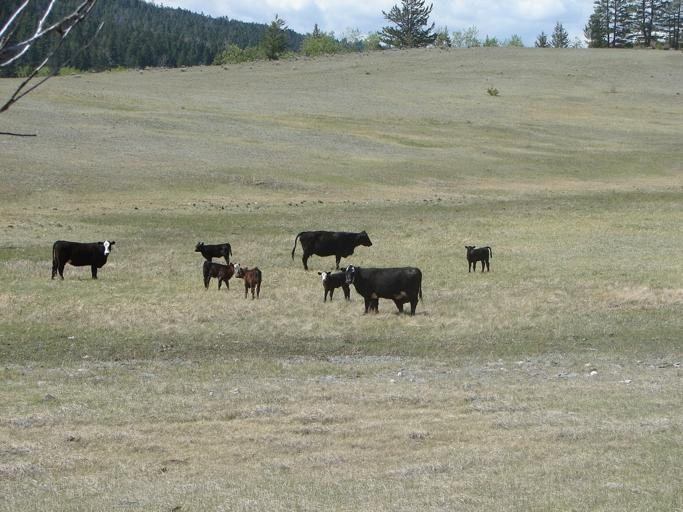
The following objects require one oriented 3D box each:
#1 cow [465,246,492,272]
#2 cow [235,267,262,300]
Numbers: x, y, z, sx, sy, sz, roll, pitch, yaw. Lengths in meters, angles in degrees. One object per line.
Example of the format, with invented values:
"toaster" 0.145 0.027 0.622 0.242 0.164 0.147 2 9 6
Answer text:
"cow" 8.397 0.216 83.228 1.408 1.503 1.350 0 6 -1
"cow" -5.398 1.502 78.729 1.452 1.735 2.369 -1 6 -13
